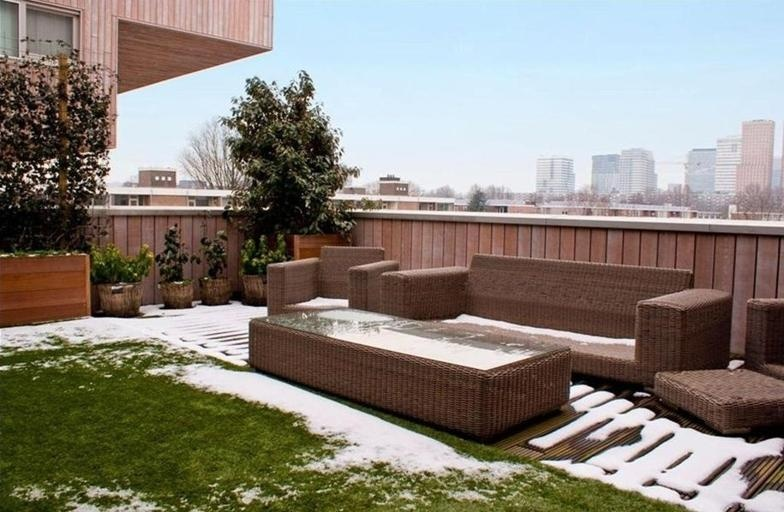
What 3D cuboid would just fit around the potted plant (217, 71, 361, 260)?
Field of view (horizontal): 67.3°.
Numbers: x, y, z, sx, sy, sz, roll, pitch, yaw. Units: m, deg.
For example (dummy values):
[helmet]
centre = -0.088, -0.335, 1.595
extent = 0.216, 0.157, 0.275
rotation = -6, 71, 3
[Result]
[potted plant]
centre = -1.350, -1.288, 7.647
extent = 1.720, 2.191, 0.987
rotation = 0, 12, -5
